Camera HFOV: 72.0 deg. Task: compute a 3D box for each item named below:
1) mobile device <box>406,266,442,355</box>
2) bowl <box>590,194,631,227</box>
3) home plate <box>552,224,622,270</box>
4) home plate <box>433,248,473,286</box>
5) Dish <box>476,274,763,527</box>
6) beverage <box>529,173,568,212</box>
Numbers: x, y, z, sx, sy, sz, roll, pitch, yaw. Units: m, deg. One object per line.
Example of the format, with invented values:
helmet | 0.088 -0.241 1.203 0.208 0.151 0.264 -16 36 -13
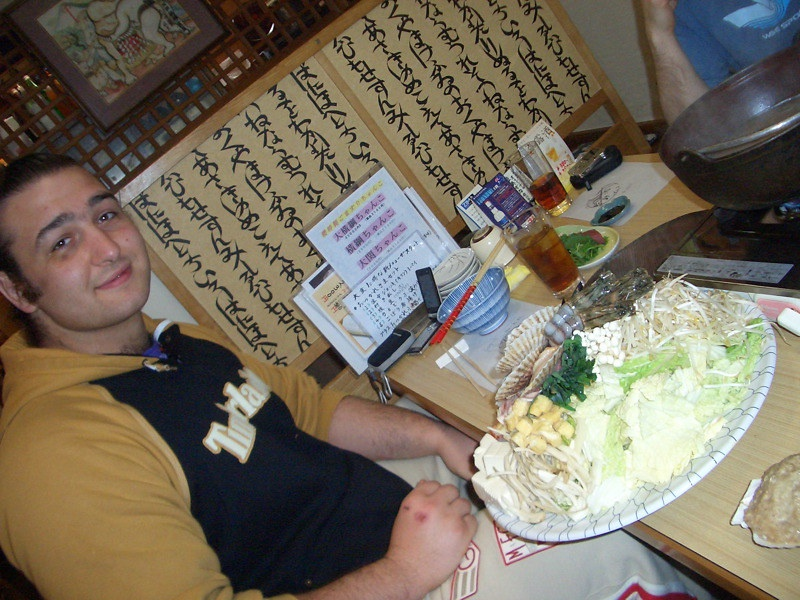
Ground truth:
mobile device | 0.099 0.029 1.970 0.163 0.251 0.060 -11 -12 43
bowl | 0.705 -0.283 1.847 0.108 0.030 0.113 -33 23 16
home plate | 0.605 -0.187 1.748 0.168 0.043 0.178 -16 25 -32
home plate | 0.188 -0.123 1.952 0.125 0.046 0.136 -39 22 9
Dish | 0.450 0.191 1.075 0.484 0.174 0.475 -40 13 8
beverage | 0.592 -0.417 2.160 0.119 0.134 0.121 -1 39 48
